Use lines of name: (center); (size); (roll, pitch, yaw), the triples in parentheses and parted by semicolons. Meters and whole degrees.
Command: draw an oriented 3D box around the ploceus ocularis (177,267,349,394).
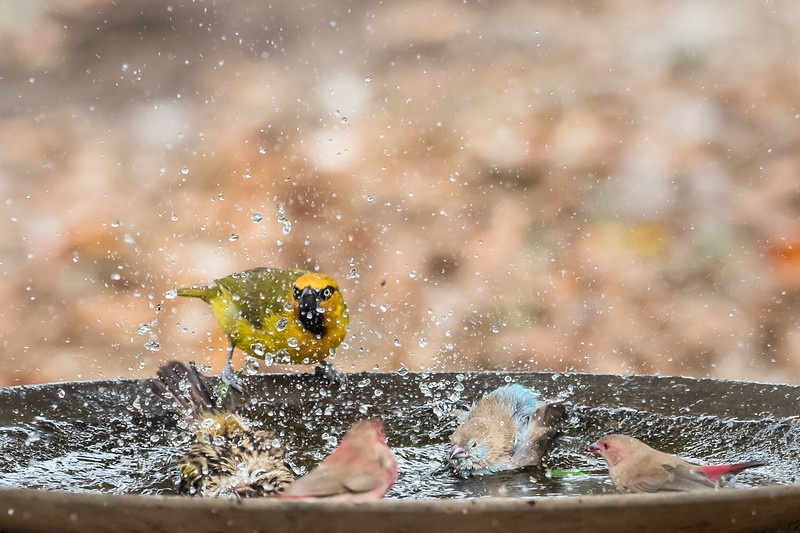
ploceus ocularis: (-0.858, 0.323, 6.916); (0.539, 0.601, 1.051); (-5, 29, -31)
